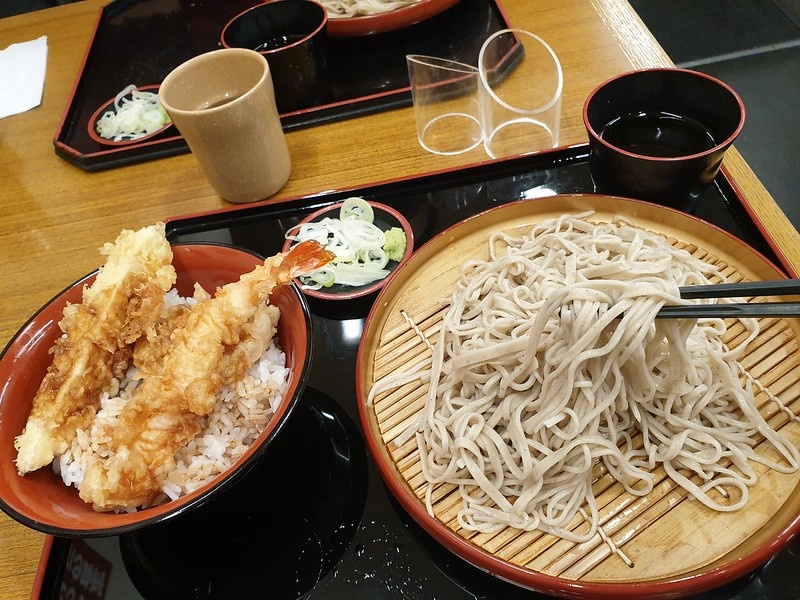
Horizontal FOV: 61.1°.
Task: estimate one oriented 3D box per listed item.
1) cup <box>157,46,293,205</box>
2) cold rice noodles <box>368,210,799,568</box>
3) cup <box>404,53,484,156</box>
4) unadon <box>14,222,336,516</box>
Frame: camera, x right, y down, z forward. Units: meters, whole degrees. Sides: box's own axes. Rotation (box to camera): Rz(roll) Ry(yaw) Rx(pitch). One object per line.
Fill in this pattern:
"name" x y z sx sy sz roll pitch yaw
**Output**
"cup" -0.557 -0.579 2.361 0.368 0.545 0.364 3 21 -1
"cold rice noodles" 0.473 0.281 1.876 0.911 0.269 0.996 15 68 10
"cup" 0.174 -0.794 2.634 0.306 0.418 0.443 -4 96 -11
"unadon" -0.669 0.170 2.163 0.798 0.765 1.162 -6 23 -12
